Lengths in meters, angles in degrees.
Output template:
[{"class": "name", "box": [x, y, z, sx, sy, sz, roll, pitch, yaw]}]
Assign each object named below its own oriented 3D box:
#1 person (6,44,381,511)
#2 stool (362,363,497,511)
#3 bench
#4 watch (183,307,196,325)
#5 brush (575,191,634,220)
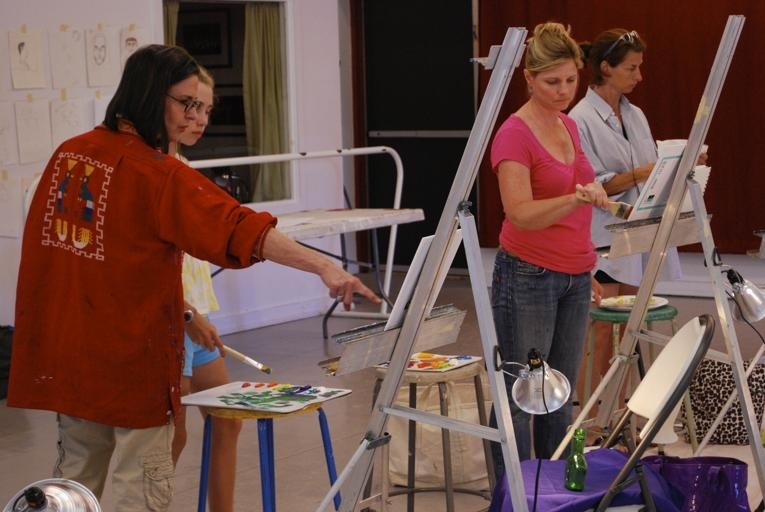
[{"class": "person", "box": [-0.736, 0.089, 2.186, 0.922, 1.474, 0.311, 1, 8, -4]}, {"class": "stool", "box": [0.258, 0.884, 3.324, 0.663, 0.991, 0.716, 0, 1, 2]}, {"class": "bench", "box": [-0.856, -0.023, 5.521, 2.095, 1.662, 1.334, -9, 10, -40]}, {"class": "watch", "box": [-0.732, 0.225, 2.653, 0.042, 0.031, 0.061, -12, 50, -2]}, {"class": "brush", "box": [0.865, -0.194, 2.704, 0.108, 0.122, 0.322, 9, 12, 41]}]
